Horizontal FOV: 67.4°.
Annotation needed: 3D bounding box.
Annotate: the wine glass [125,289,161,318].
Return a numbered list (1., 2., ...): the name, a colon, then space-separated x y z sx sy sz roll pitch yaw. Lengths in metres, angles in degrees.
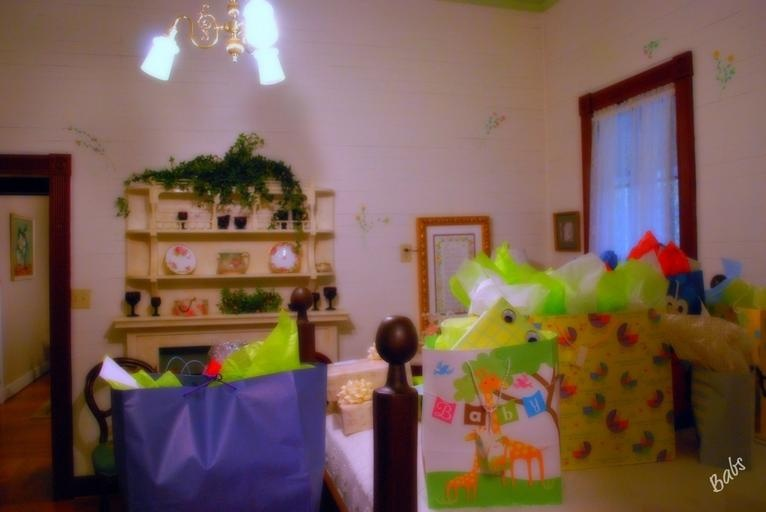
1. wine glass: -1.639 0.332 3.899 0.064 0.125 0.165 -6 -7 28

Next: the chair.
1. chair: -1.773 0.959 3.804 0.486 0.627 0.234 0 0 25

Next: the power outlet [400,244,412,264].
1. power outlet: 0.165 -0.015 4.307 0.130 0.188 0.019 1 0 -19

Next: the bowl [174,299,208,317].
1. bowl: -1.321 0.352 3.927 0.244 0.122 0.224 -1 0 0

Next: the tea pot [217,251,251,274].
1. tea pot: -1.036 0.062 3.938 0.154 0.125 0.161 -1 -4 0

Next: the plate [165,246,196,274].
1. plate: -1.395 0.031 3.969 0.208 0.206 0.142 -1 0 -22

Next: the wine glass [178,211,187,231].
1. wine glass: -1.376 -0.241 3.943 0.070 0.135 0.160 -1 0 -20

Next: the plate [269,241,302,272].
1. plate: -0.691 0.012 4.049 0.192 0.192 0.109 45 -12 -13

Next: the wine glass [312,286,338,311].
1. wine glass: -0.400 0.309 4.091 0.210 0.204 0.119 1 -2 10

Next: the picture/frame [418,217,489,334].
1. picture/frame: 0.545 0.096 4.363 0.591 0.731 0.061 -1 0 -11
